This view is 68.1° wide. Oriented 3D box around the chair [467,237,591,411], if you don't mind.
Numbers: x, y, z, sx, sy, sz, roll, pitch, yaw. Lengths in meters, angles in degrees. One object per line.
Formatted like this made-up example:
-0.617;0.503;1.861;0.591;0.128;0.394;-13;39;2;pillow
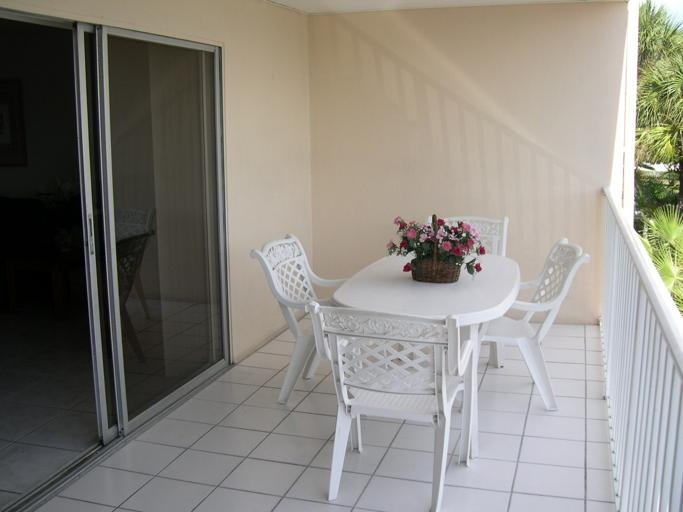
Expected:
1.196;0.454;3.503;0.742;1.090;0.724;7;12;19;chair

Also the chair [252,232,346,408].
-0.132;0.439;3.587;0.673;1.068;0.601;2;16;33;chair

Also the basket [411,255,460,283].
0.584;0.092;3.179;0.203;0.095;0.170;3;11;15;basket

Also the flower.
0.622;-0.107;3.225;0.452;0.364;0.498;4;23;9;flower
